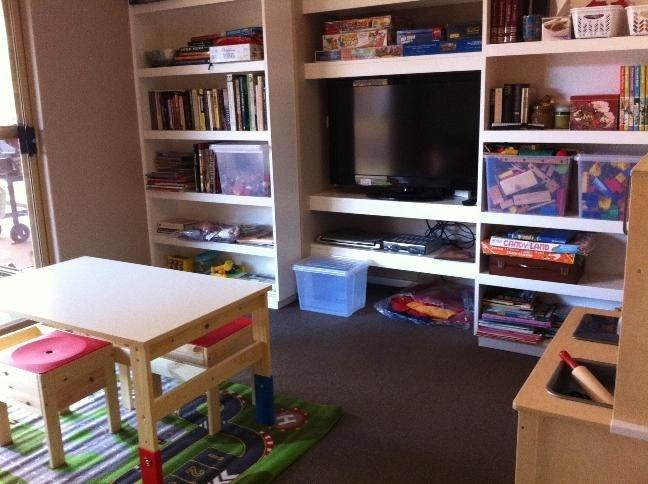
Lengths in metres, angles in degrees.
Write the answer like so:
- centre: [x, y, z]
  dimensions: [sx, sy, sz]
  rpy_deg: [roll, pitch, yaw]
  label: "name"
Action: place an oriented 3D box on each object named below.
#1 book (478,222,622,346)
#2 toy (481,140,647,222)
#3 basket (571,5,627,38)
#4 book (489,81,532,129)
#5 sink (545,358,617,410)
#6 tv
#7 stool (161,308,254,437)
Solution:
- centre: [1.260, 0.222, 2.896]
  dimensions: [0.875, 0.650, 0.413]
  rpy_deg: [3, 8, 26]
  label: "book"
- centre: [1.394, -0.347, 3.006]
  dimensions: [0.855, 0.307, 0.522]
  rpy_deg: [4, 10, 24]
  label: "toy"
- centre: [1.419, -1.147, 2.694]
  dimensions: [0.201, 0.103, 0.244]
  rpy_deg: [5, 14, 28]
  label: "basket"
- centre: [1.099, -0.796, 3.139]
  dimensions: [0.291, 0.318, 0.370]
  rpy_deg: [6, 16, 27]
  label: "book"
- centre: [0.797, 0.447, 1.602]
  dimensions: [0.177, 0.092, 0.234]
  rpy_deg: [5, 17, 29]
  label: "sink"
- centre: [0.575, -0.786, 3.747]
  dimensions: [1.348, 0.713, 0.115]
  rpy_deg: [-6, 9, -28]
  label: "tv"
- centre: [-0.476, 0.602, 2.610]
  dimensions: [0.454, 0.407, 0.531]
  rpy_deg: [9, -9, -26]
  label: "stool"
